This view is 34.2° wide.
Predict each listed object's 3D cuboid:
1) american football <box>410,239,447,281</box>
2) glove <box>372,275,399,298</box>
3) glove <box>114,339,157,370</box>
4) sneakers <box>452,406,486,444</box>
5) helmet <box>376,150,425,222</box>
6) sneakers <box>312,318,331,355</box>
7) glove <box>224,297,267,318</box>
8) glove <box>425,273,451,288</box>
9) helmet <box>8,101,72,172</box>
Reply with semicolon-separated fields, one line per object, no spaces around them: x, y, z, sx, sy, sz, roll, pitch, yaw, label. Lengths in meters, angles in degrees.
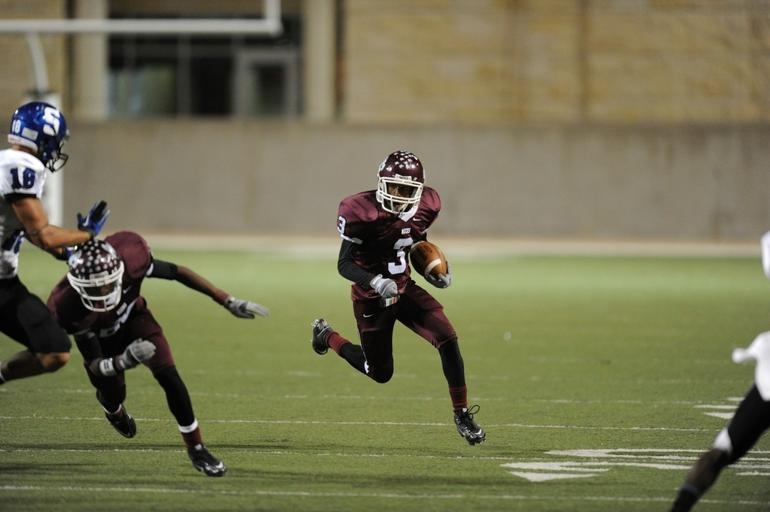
0.355;0.044;10.110;0.344;0.224;0.213;45;-1;19;american football
-0.007;0.240;9.763;0.196;0.156;0.083;33;33;12;glove
-1.834;0.742;9.277;0.197;0.128;0.274;22;-40;-40;glove
0.666;1.315;9.822;0.242;0.295;0.264;0;14;3;sneakers
0.129;-0.577;9.989;0.425;0.468;0.543;5;18;-5;helmet
-0.504;0.694;10.781;0.158;0.331;0.129;4;14;42;sneakers
-1.049;0.409;9.601;0.295;0.154;0.118;18;33;17;glove
0.421;0.201;10.041;0.160;0.058;0.112;14;-3;3;glove
-2.664;-0.948;9.778;0.457;0.538;0.587;18;16;41;helmet
